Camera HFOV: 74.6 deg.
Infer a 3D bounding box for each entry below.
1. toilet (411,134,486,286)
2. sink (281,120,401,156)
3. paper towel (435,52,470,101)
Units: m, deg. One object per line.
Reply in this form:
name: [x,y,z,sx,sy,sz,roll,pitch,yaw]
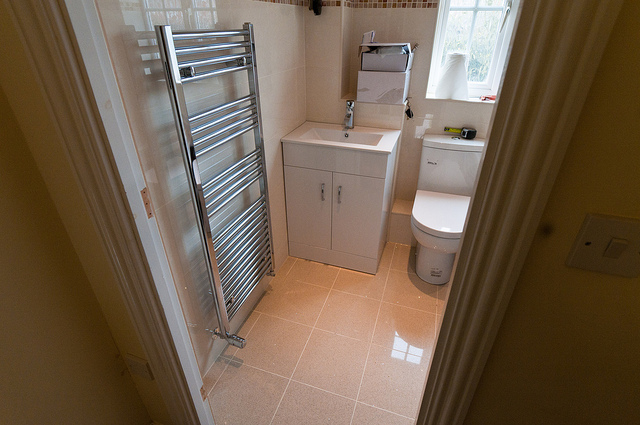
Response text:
toilet: [0.801,-0.016,2.818,0.379,0.839,0.702,11,34,16]
sink: [0.153,-0.483,2.770,0.688,0.131,0.476,10,34,14]
paper towel: [0.891,-0.895,2.803,0.212,0.326,0.227,6,33,11]
